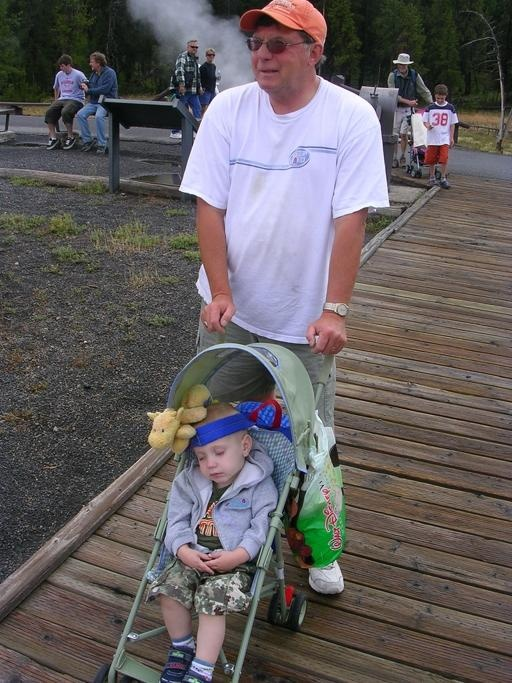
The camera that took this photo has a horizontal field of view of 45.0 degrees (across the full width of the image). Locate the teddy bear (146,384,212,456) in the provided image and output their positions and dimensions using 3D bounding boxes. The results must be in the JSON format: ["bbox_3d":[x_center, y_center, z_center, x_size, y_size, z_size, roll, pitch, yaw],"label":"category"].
[{"bbox_3d":[-0.220,0.233,1.845,0.136,0.122,0.226,16,44,22],"label":"teddy bear"}]

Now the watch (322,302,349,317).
[{"bbox_3d":[0.240,-0.097,1.828,0.065,0.035,0.059,7,-1,-28],"label":"watch"}]

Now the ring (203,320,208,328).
[{"bbox_3d":[-0.155,-0.053,1.918,0.008,0.009,0.026,-1,31,-16],"label":"ring"}]

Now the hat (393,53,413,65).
[{"bbox_3d":[2.691,-5.166,11.309,0.262,0.258,0.671,6,16,8],"label":"hat"}]

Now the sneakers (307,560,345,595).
[{"bbox_3d":[0.260,0.868,2.273,0.084,0.075,0.187,0,-8,-2],"label":"sneakers"}]
